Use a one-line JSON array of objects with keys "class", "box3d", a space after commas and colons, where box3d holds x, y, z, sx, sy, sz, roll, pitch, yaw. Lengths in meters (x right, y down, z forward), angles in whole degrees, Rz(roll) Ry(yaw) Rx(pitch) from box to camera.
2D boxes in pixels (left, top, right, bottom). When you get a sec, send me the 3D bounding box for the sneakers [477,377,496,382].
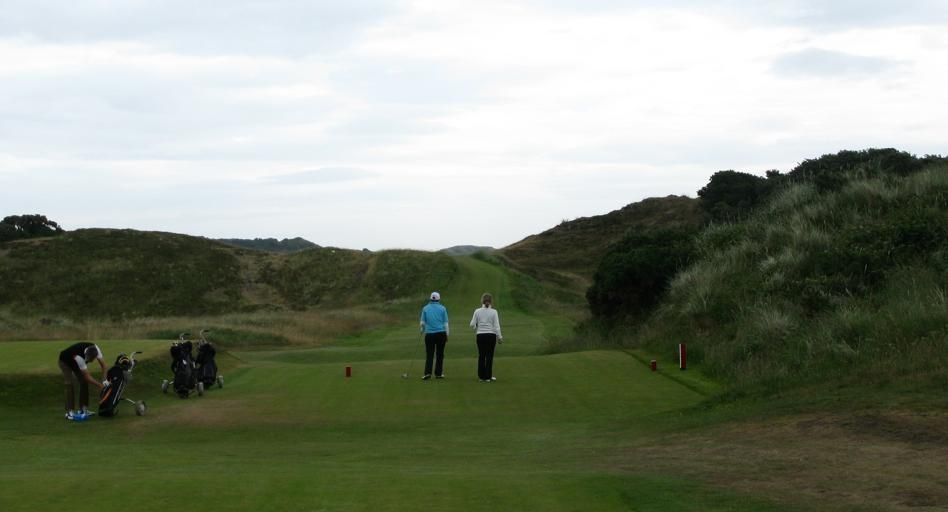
[{"class": "sneakers", "box3d": [0.413, 4.130, 29.468, 0.565, 0.190, 0.175, 1, 0, -24]}]
